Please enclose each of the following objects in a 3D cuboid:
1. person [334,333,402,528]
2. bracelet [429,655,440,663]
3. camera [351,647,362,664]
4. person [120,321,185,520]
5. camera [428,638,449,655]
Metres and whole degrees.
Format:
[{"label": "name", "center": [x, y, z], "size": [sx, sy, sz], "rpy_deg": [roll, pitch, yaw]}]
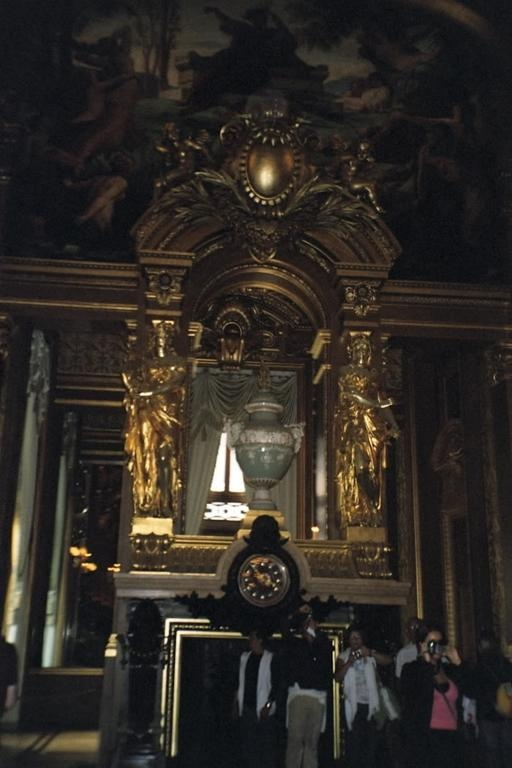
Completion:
[{"label": "person", "center": [1.130, 0.557, 9.445], "size": [0.640, 1.928, 0.431], "rpy_deg": [2, -18, 4]}, {"label": "bracelet", "center": [1.227, 1.866, 6.210], "size": [0.058, 0.060, 0.064], "rpy_deg": [3, -4, -9]}, {"label": "camera", "center": [0.734, 1.993, 6.667], "size": [0.088, 0.065, 0.030], "rpy_deg": [-9, 27, -17]}, {"label": "person", "center": [-1.062, 0.332, 9.350], "size": [0.670, 2.158, 0.499], "rpy_deg": [5, -18, -5]}, {"label": "camera", "center": [1.257, 1.776, 6.229], "size": [0.110, 0.106, 0.098], "rpy_deg": [-3, 9, 19]}]
